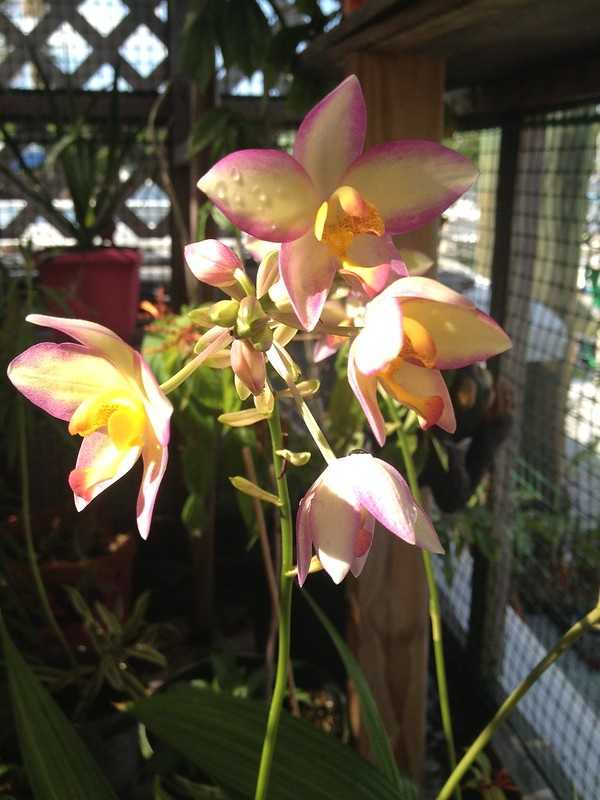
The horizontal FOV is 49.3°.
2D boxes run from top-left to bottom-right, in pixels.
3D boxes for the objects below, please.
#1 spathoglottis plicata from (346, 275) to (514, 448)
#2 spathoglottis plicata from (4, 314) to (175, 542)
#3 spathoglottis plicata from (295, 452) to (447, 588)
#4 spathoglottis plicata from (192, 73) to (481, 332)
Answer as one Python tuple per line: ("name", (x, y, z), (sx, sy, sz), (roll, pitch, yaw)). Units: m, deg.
("spathoglottis plicata", (0.069, -0.032, 0.444), (0.112, 0.121, 0.065), (-28, 44, -27))
("spathoglottis plicata", (-0.146, 0.018, 0.448), (0.110, 0.155, 0.156), (1, 13, -12))
("spathoglottis plicata", (0.049, 0.075, 0.471), (0.097, 0.076, 0.105), (0, 18, 33))
("spathoglottis plicata", (0.021, -0.125, 0.417), (0.177, 0.153, 0.065), (-3, 14, -27))
